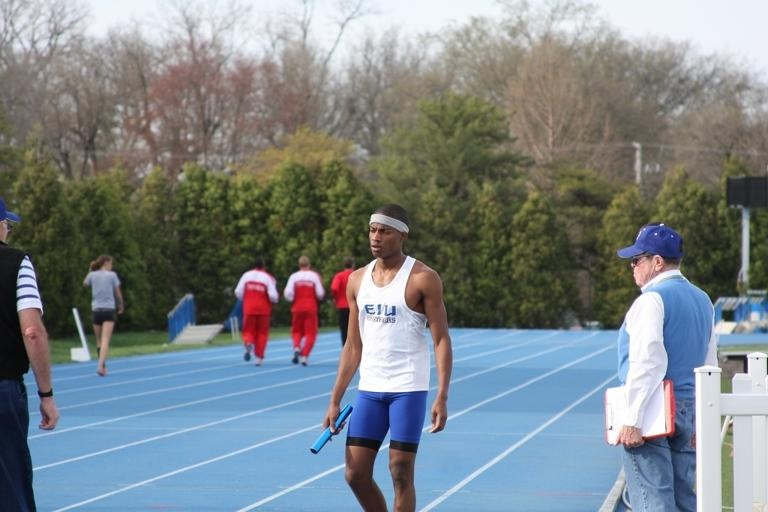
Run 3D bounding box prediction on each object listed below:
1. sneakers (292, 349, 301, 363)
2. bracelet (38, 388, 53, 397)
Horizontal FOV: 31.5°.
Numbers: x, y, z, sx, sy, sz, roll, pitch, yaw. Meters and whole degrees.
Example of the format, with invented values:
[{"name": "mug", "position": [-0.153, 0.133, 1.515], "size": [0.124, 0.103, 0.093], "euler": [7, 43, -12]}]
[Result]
[{"name": "sneakers", "position": [-3.247, 3.762, 50.305], "size": [0.202, 0.610, 0.253], "euler": [3, 33, -8]}, {"name": "bracelet", "position": [-9.690, 3.871, 38.792], "size": [0.259, 0.156, 0.287], "euler": [1, -4, -42]}]
